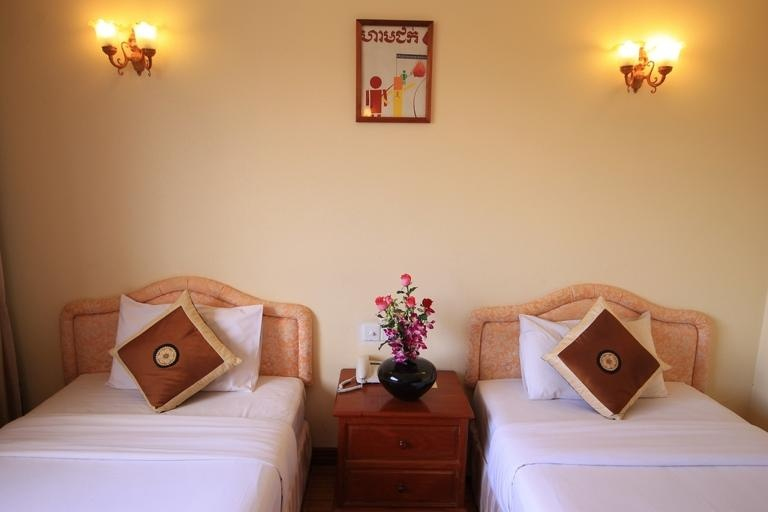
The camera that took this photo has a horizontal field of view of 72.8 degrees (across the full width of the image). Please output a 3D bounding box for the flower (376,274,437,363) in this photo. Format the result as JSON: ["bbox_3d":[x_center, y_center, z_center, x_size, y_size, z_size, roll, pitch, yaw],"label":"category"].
[{"bbox_3d":[0.141,0.432,3.643,0.437,0.640,0.473,4,14,5],"label":"flower"}]

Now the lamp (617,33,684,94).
[{"bbox_3d":[1.851,-1.356,3.644,0.466,0.408,0.281,4,14,5],"label":"lamp"}]

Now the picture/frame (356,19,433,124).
[{"bbox_3d":[0.060,-1.337,3.675,0.693,0.856,0.039,1,9,-1],"label":"picture/frame"}]

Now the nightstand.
[{"bbox_3d":[0.126,1.155,3.691,0.946,0.892,0.709,0,4,1],"label":"nightstand"}]

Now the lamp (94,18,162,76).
[{"bbox_3d":[-1.738,-1.416,3.562,0.406,0.331,0.338,-10,20,-31],"label":"lamp"}]

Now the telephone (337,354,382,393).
[{"bbox_3d":[-0.176,0.851,3.734,0.232,0.133,0.335,0,3,3],"label":"telephone"}]

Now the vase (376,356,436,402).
[{"bbox_3d":[0.132,0.799,3.468,0.304,0.199,0.299,-1,-1,27],"label":"vase"}]
